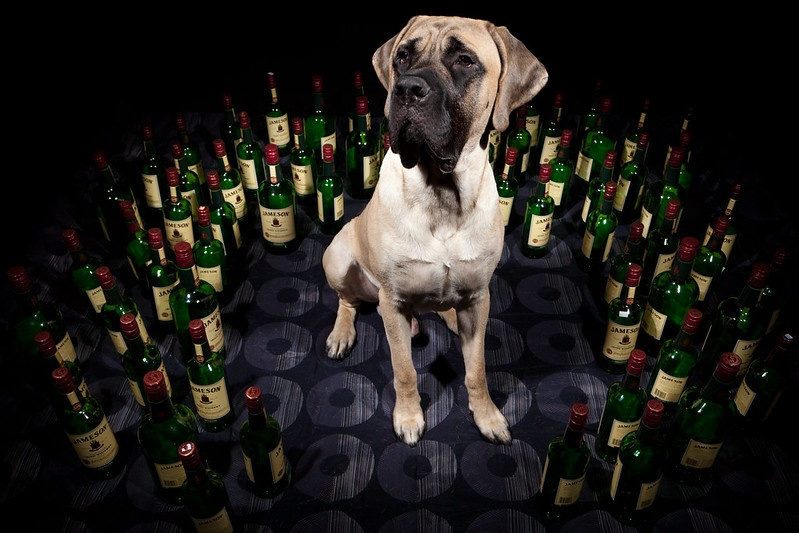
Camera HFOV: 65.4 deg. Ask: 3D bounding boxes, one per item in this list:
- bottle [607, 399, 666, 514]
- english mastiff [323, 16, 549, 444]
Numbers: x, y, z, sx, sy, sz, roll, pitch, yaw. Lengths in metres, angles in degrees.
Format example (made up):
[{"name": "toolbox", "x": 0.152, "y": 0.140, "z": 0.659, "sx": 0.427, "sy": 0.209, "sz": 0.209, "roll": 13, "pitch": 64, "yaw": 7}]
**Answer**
[{"name": "bottle", "x": 1.205, "y": 0.981, "z": 3.152, "sx": 0.189, "sy": 0.638, "sz": 0.189, "roll": 4, "pitch": 24, "yaw": -2}, {"name": "english mastiff", "x": 0.079, "y": -0.325, "z": 3.908, "sx": 1.094, "sy": 2.375, "sz": 1.712, "roll": -6, "pitch": 29, "yaw": -11}]
